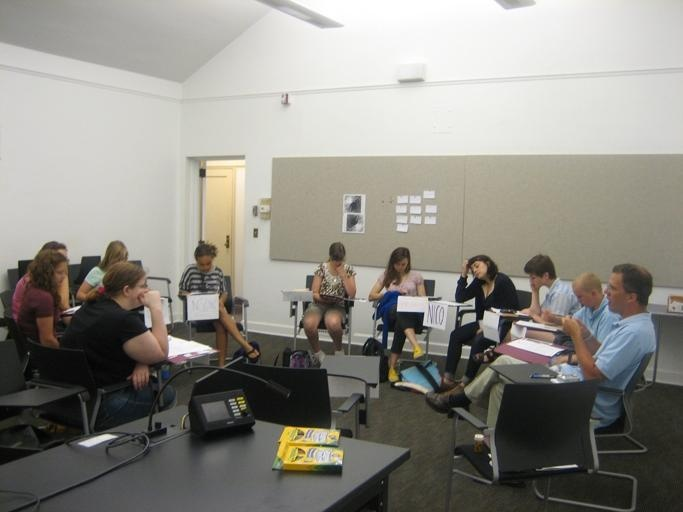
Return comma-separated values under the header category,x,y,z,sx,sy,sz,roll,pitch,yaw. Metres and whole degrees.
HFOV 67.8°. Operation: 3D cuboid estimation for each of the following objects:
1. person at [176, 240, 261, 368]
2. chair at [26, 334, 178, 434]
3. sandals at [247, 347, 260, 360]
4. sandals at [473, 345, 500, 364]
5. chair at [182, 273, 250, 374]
category,x,y,z,sx,sy,sz,roll,pitch,yaw
person,-1.249,0.529,5.142,0.549,1.256,1.078,-5,12,-43
chair,-1.624,0.728,3.383,0.608,0.979,0.654,-1,1,36
sandals,-0.887,0.970,5.089,0.112,0.097,0.239,-1,8,-10
sandals,1.360,0.885,4.590,0.147,0.183,0.473,7,-12,-16
chair,-1.291,0.550,5.244,0.685,0.951,0.922,0,3,-40
